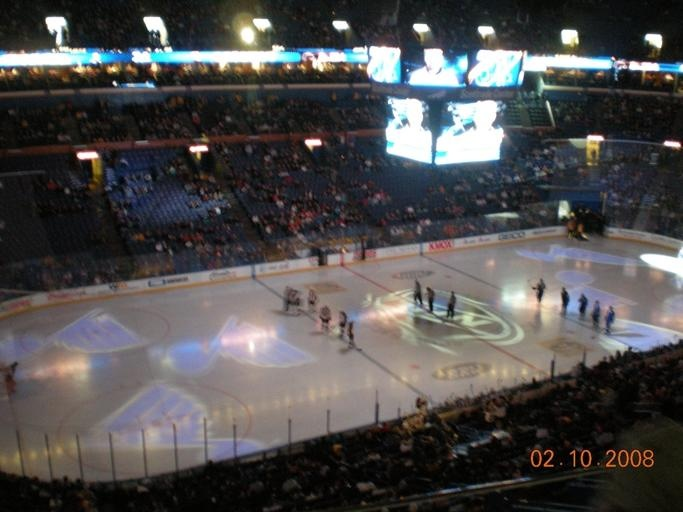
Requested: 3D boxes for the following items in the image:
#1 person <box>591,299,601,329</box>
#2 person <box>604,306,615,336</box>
[{"bbox_3d":[13.178,2.791,31.571,0.406,1.376,1.595,4,14,24],"label":"person"},{"bbox_3d":[13.540,3.049,30.850,0.388,1.342,1.443,4,14,24],"label":"person"}]
